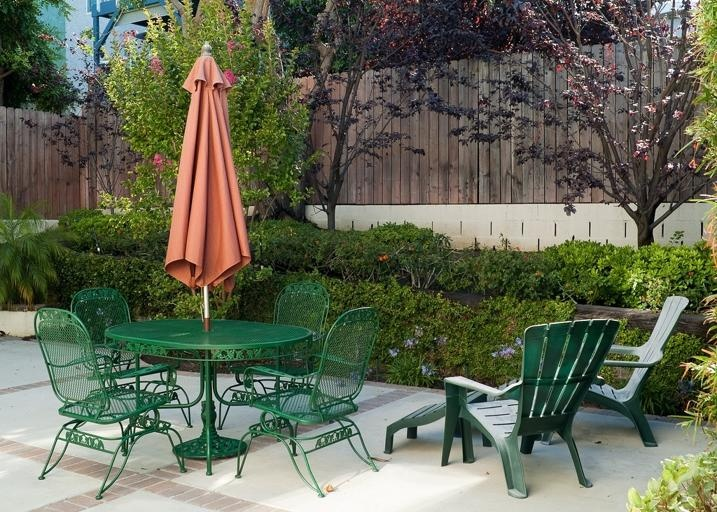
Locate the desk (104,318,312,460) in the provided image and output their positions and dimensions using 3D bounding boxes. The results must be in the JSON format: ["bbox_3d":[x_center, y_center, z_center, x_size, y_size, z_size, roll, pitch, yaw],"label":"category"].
[{"bbox_3d":[-1.409,1.308,7.324,1.318,1.020,1.493,-9,2,12],"label":"desk"}]

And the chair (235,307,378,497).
[{"bbox_3d":[-0.447,1.235,7.149,1.030,1.715,1.145,-2,7,-44],"label":"chair"}]

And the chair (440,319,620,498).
[{"bbox_3d":[1.540,1.303,7.115,1.033,1.511,1.420,-3,2,-28],"label":"chair"}]

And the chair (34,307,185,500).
[{"bbox_3d":[-2.362,1.177,7.014,1.208,1.513,1.011,6,14,25],"label":"chair"}]
